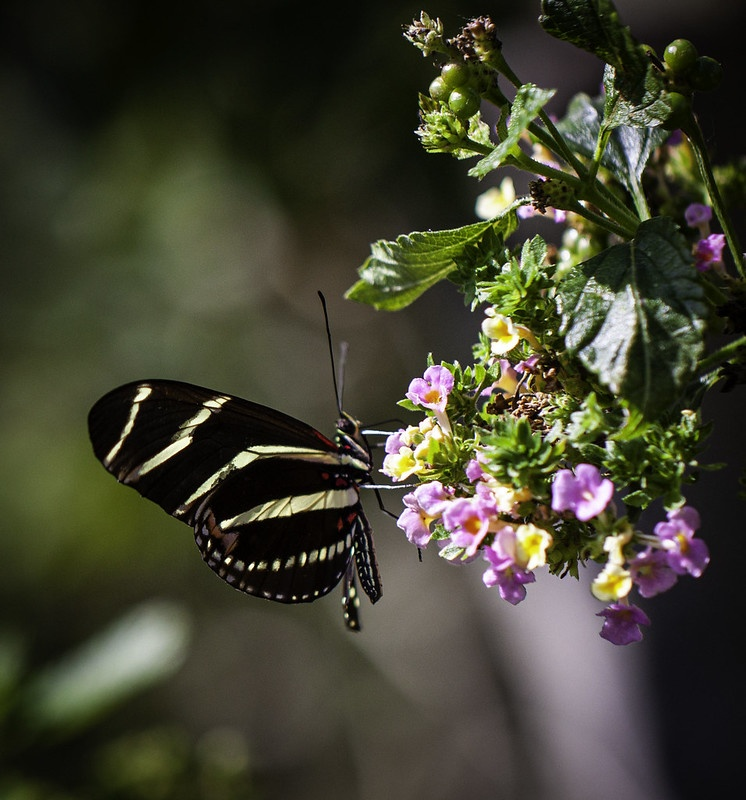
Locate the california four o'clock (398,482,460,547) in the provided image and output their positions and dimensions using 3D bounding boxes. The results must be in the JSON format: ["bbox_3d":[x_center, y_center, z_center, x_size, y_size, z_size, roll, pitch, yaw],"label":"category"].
[{"bbox_3d":[0.082,0.170,1.342,0.037,0.096,0.096,10,-52,-43],"label":"california four o'clock"}]

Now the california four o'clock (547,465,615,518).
[{"bbox_3d":[0.279,0.127,1.218,0.081,0.072,0.049,-23,-27,8],"label":"california four o'clock"}]

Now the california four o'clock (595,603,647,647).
[{"bbox_3d":[0.359,0.327,1.345,0.069,0.068,0.021,2,2,-5],"label":"california four o'clock"}]

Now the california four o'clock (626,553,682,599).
[{"bbox_3d":[0.385,0.236,1.257,0.055,0.058,0.062,-28,-28,18],"label":"california four o'clock"}]

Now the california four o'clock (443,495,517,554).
[{"bbox_3d":[0.144,0.180,1.253,0.079,0.086,0.039,13,6,8],"label":"california four o'clock"}]

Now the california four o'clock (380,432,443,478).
[{"bbox_3d":[0.064,0.102,1.398,0.074,0.074,0.037,-40,-50,18],"label":"california four o'clock"}]

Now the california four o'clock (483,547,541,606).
[{"bbox_3d":[0.190,0.246,1.264,0.029,0.091,0.097,-46,-48,-32],"label":"california four o'clock"}]
